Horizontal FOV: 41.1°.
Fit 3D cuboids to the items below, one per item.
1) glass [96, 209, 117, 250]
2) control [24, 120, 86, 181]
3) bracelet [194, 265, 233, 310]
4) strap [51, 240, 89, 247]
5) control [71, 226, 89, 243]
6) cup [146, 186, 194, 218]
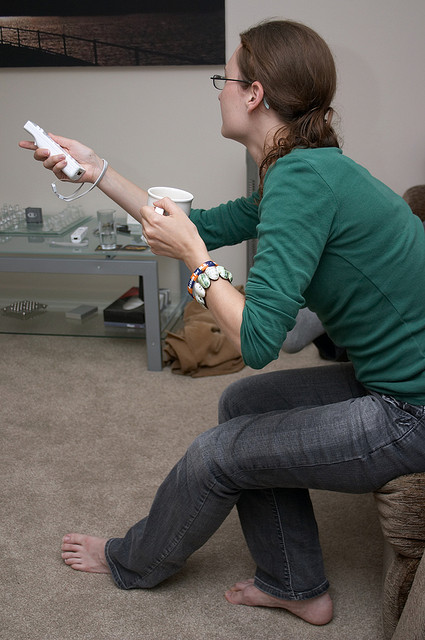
[{"bbox_3d":[-0.460,-0.401,2.485,0.079,0.162,0.178,-1,15,-9],"label":"glass"},{"bbox_3d":[-0.367,-0.392,1.313,0.157,0.130,0.085,9,17,25],"label":"control"},{"bbox_3d":[-0.002,-0.062,0.967,0.067,0.071,0.027,-4,29,-20],"label":"bracelet"},{"bbox_3d":[-0.620,-0.341,2.519,0.162,0.022,0.103,-5,16,-27],"label":"strap"},{"bbox_3d":[-0.593,-0.385,2.531,0.036,0.028,0.116,2,27,8],"label":"control"},{"bbox_3d":[-0.085,-0.247,1.159,0.067,0.056,0.078,-7,30,-25],"label":"cup"}]
